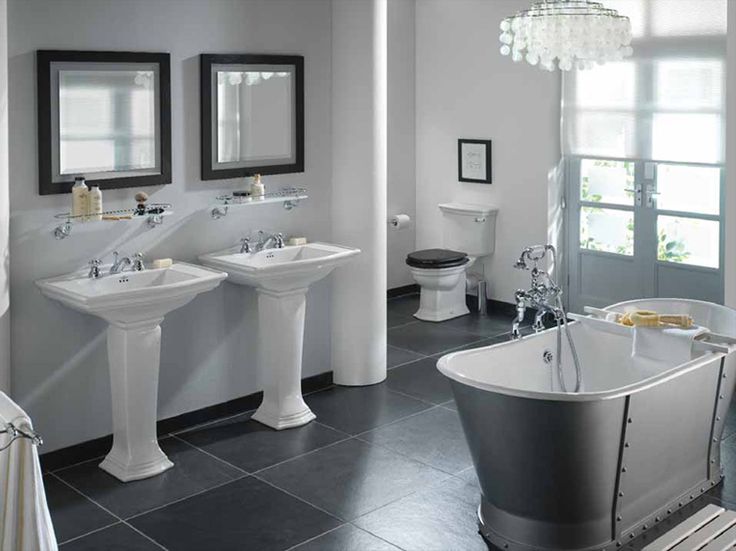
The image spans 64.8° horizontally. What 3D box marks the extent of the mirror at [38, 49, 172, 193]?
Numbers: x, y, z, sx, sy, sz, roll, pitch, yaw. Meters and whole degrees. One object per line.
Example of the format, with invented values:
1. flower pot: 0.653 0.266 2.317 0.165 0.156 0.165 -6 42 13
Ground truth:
1. mirror: -1.589 -0.933 3.430 0.851 0.873 0.066 -5 7 -44

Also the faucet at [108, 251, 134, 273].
1. faucet: -1.511 -0.072 3.540 0.088 0.117 0.160 -5 6 -40

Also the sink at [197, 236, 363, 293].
1. sink: -0.574 -0.049 4.109 1.055 0.305 0.826 -9 5 -39

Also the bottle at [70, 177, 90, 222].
1. bottle: -1.663 -0.457 3.350 0.103 0.222 0.180 -7 15 -25

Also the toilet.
1. toilet: 0.909 -0.151 6.284 0.970 1.174 0.496 -10 17 -35

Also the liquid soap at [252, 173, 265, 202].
1. liquid soap: -0.777 -0.633 4.090 0.102 0.171 0.259 -3 14 -10

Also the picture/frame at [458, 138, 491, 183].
1. picture/frame: 1.181 -1.274 6.363 0.436 0.502 0.051 8 15 35

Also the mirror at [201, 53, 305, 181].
1. mirror: -0.833 -1.125 4.036 0.064 0.890 0.872 7 9 43
